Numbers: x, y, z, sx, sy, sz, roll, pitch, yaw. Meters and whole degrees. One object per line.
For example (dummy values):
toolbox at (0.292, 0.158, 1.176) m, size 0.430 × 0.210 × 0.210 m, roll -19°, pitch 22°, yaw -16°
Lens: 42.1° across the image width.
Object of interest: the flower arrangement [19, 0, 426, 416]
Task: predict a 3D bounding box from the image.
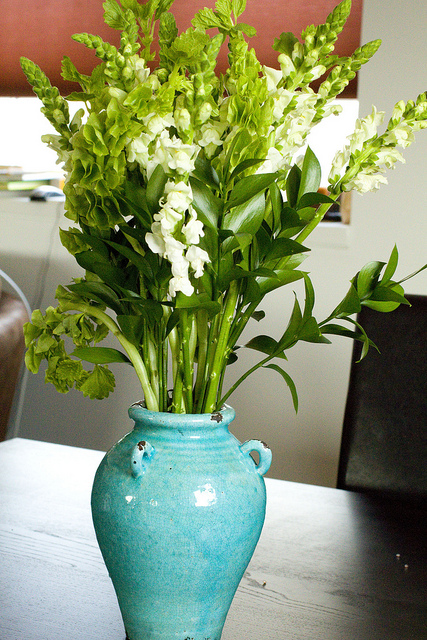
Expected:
flower arrangement at (0.003, -0.109, 0.544) m, size 0.366 × 0.413 × 0.265 m, roll 1°, pitch 3°, yaw -19°

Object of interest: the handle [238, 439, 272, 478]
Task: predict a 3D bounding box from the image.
handle at (0.039, 0.139, 0.562) m, size 0.032 × 0.038 × 0.013 m, roll -11°, pitch -13°, yaw -35°

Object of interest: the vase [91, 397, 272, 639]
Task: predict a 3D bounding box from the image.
vase at (-0.033, 0.198, 0.527) m, size 0.164 × 0.226 × 0.132 m, roll 3°, pitch 3°, yaw 6°
